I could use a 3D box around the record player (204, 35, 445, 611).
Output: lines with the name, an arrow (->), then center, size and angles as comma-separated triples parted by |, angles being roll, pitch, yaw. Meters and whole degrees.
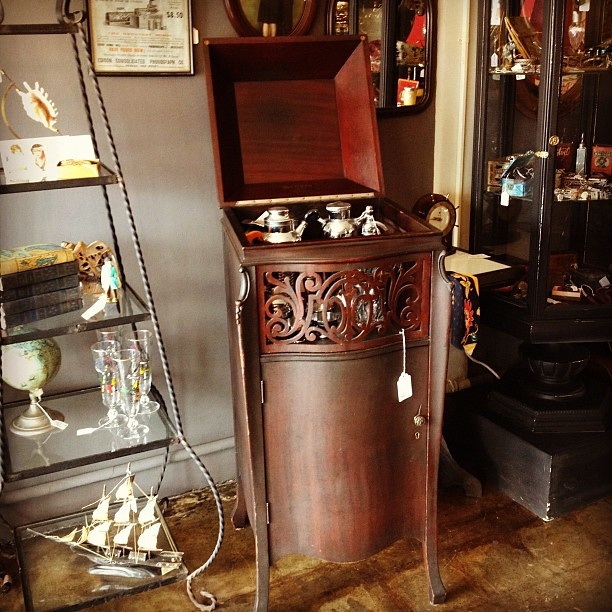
record player -> 0.054, 0.050, 1.716 | 0.666, 1.584, 0.585 | -7, 16, -9
